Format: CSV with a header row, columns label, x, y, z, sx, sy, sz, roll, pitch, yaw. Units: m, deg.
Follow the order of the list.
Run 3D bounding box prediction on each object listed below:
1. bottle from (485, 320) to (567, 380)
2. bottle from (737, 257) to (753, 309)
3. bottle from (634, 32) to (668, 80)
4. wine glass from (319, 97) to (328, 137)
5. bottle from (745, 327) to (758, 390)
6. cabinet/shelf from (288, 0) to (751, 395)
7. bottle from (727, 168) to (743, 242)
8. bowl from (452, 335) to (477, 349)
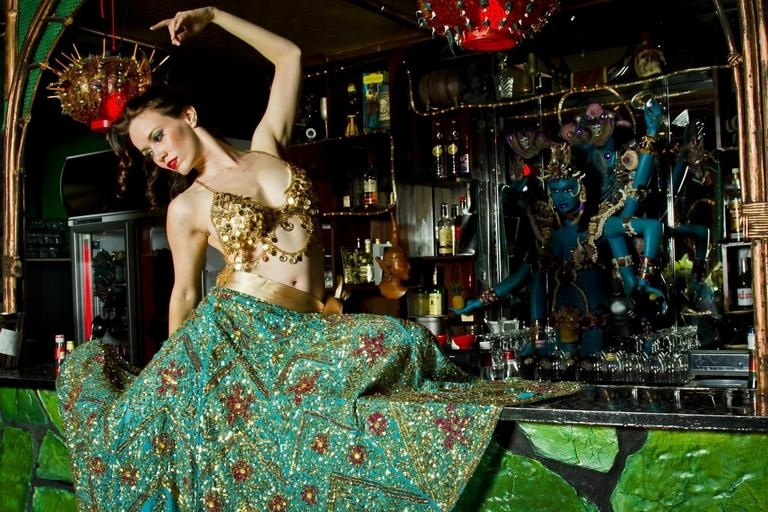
label,x,y,z,sx,sy,sz,roll,pitch,yaw
bottle,0.961,0.624,5.124,0.395,0.183,0.478,-3,5,-40
bottle,2.323,0.170,4.919,0.080,0.320,0.051,-2,-4,20
bottle,1.840,-1.394,5.288,0.211,0.354,0.124,-2,-4,25
wine glass,-0.524,-1.214,6.624,0.071,0.362,0.061,0,8,23
bottle,1.624,0.440,3.351,0.033,0.244,0.408,-2,-4,26
cabinet/shelf,1.047,-0.402,5.071,2.568,2.528,0.873,-2,-2,31
bottle,2.357,-0.341,5.104,0.112,0.478,0.113,-2,4,0
bowl,0.537,0.562,5.190,0.140,0.080,0.144,1,-2,0
